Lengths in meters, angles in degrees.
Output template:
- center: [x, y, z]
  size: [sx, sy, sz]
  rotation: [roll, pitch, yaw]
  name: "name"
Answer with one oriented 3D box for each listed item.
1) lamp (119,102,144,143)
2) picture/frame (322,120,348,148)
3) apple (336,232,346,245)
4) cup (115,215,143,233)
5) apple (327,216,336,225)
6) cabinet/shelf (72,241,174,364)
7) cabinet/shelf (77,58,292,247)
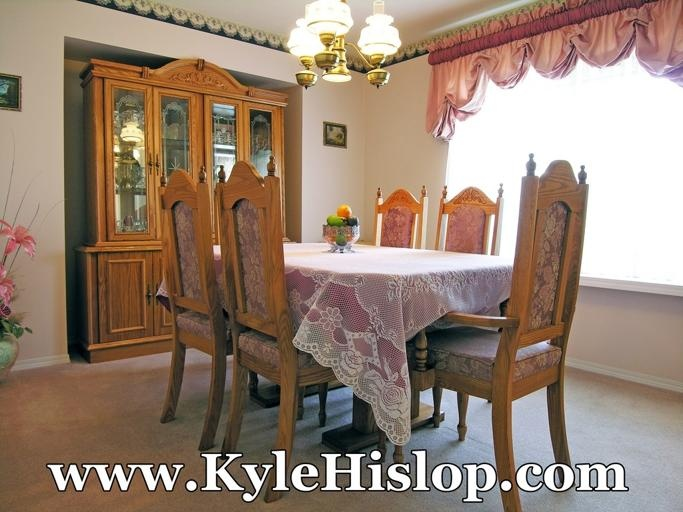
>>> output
- center: [-1.761, -1.085, 3.971]
  size: [0.221, 0.321, 0.228]
  rotation: [-3, 9, -13]
  name: "lamp"
- center: [-0.091, -1.363, 5.344]
  size: [0.287, 0.252, 0.028]
  rotation: [-19, 22, -40]
  name: "picture/frame"
- center: [-0.005, -0.107, 3.098]
  size: [0.062, 0.075, 0.064]
  rotation: [-6, -30, -6]
  name: "apple"
- center: [-1.789, -0.269, 4.097]
  size: [0.235, 0.143, 0.060]
  rotation: [-5, 11, -28]
  name: "cup"
- center: [-0.054, -0.224, 3.165]
  size: [0.060, 0.064, 0.060]
  rotation: [-3, 29, -30]
  name: "apple"
- center: [-1.789, 0.379, 3.959]
  size: [0.953, 0.939, 0.401]
  rotation: [-1, 1, -38]
  name: "cabinet/shelf"
- center: [-1.426, -0.841, 4.637]
  size: [1.862, 1.915, 0.475]
  rotation: [-5, 11, -39]
  name: "cabinet/shelf"
